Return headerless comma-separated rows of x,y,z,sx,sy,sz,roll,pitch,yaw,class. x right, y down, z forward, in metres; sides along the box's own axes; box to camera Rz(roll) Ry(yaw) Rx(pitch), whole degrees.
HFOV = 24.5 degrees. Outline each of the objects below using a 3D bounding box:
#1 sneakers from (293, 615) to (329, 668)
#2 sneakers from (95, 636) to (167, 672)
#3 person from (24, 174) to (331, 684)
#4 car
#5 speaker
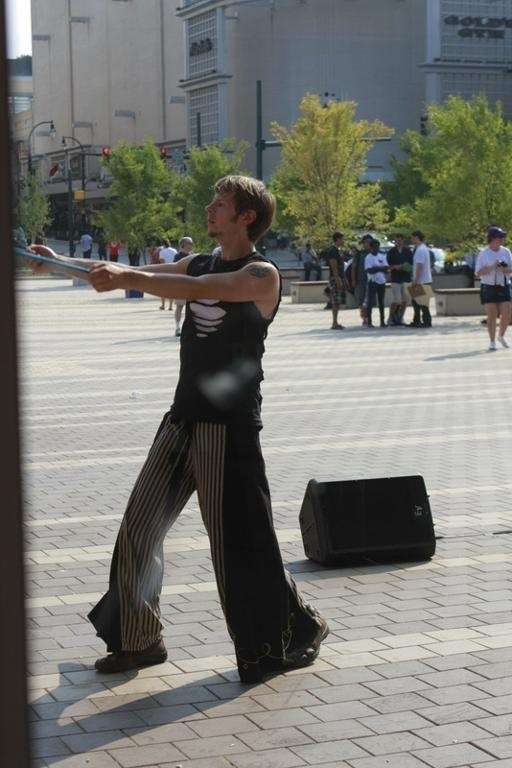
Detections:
0.212,0.896,4.100,0.076,0.089,0.215,-2,25,22,sneakers
-0.423,0.935,4.083,0.287,0.116,0.094,2,1,-26,sneakers
-0.134,0.159,3.821,0.836,1.685,0.640,-1,4,-8,person
4.259,-5.348,54.069,6.842,3.007,3.575,-3,7,0,car
0.487,0.609,5.342,0.588,0.422,0.398,-3,26,-17,speaker
